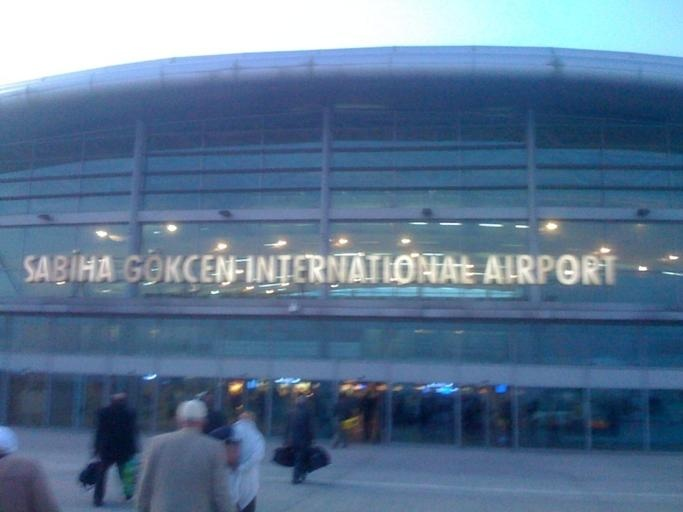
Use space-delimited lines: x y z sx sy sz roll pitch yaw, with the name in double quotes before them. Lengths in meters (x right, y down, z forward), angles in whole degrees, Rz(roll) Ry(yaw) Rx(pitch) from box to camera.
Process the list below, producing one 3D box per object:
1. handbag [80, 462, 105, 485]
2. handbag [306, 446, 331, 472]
"handbag" -6.316 5.470 21.720 0.586 0.605 0.229 13 -18 -11
"handbag" -0.709 5.494 23.158 0.673 0.679 0.302 25 -12 -1
